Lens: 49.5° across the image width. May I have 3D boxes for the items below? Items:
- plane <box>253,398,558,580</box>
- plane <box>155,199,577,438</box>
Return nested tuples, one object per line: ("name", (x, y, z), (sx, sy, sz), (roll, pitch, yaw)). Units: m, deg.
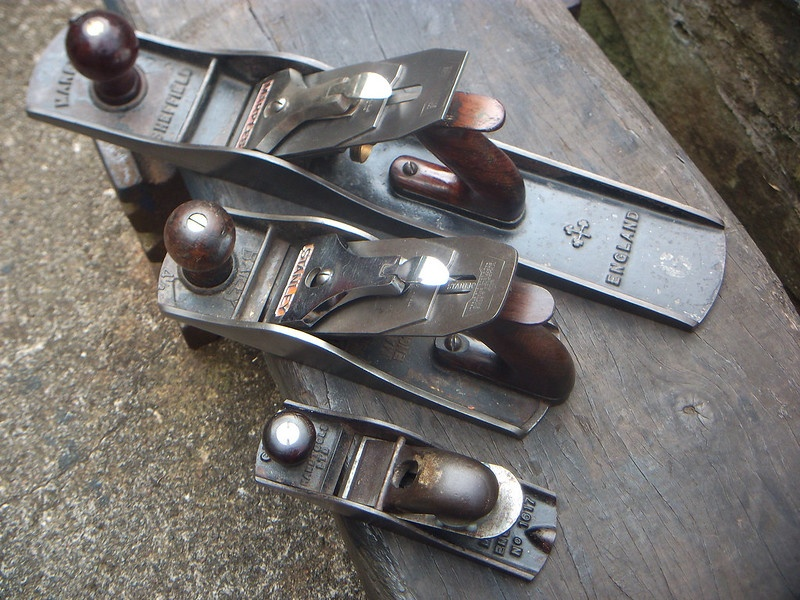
("plane", (0.056, 0.609, 2.832), (0.986, 0.377, 0.332), (17, 87, 8))
("plane", (-0.063, 0.040, 2.943), (1.181, 0.457, 0.386), (18, 75, 0))
